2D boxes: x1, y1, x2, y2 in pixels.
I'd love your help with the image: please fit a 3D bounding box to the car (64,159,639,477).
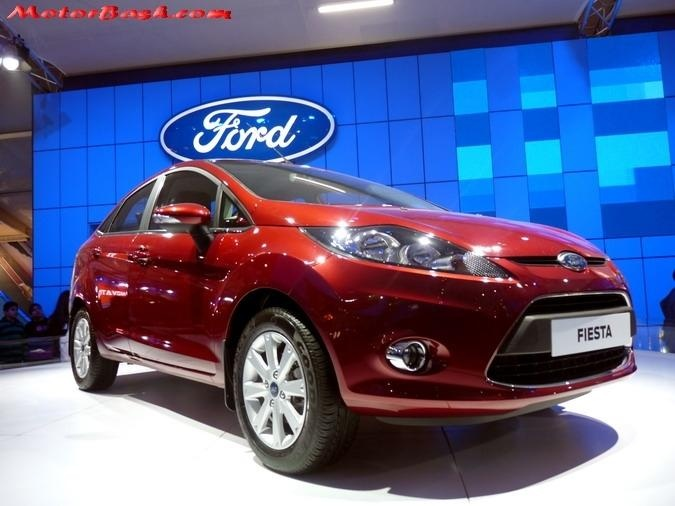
[{"bbox_3d":[-0.423,0.142,2.599,1.622,2.911,1.031,3,84,-37],"label":"car"}]
